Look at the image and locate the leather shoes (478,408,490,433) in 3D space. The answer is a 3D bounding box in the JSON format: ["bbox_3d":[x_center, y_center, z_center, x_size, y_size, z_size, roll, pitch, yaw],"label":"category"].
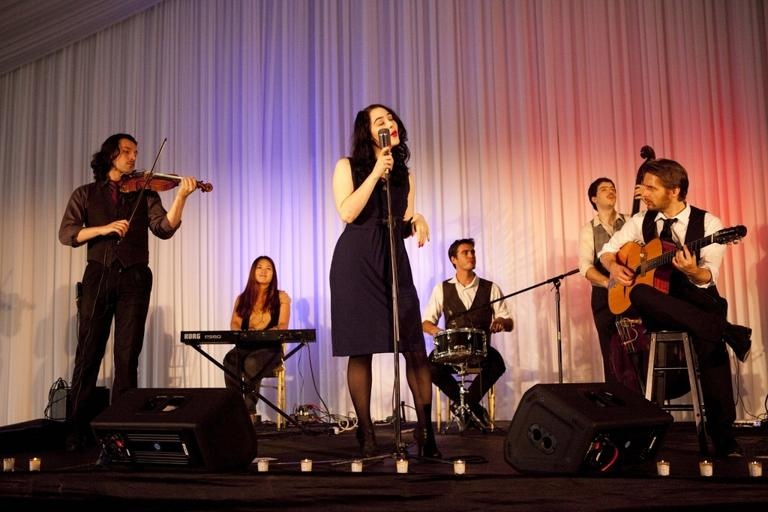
[{"bbox_3d":[0.999,1.617,8.441,0.119,0.265,0.471,-3,-12,5],"label":"leather shoes"}]

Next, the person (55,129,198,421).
[{"bbox_3d":[-2.276,0.126,7.244,1.050,2.489,0.451,-4,-10,16],"label":"person"}]

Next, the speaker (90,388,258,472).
[{"bbox_3d":[-1.584,1.315,6.431,1.142,0.637,0.413,-4,-11,7],"label":"speaker"}]

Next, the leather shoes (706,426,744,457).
[{"bbox_3d":[2.699,1.469,6.707,0.245,0.297,0.162,-5,-5,22],"label":"leather shoes"}]

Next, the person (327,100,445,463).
[{"bbox_3d":[0.007,0.177,6.688,0.660,2.855,0.796,-1,-1,-18],"label":"person"}]

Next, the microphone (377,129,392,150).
[{"bbox_3d":[0.003,-0.912,6.600,0.106,0.181,0.124,-2,-11,0],"label":"microphone"}]

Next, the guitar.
[{"bbox_3d":[2.373,0.043,6.979,0.171,0.679,1.273,33,-40,-24],"label":"guitar"}]

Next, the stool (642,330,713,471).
[{"bbox_3d":[2.446,1.077,7.121,0.539,0.981,0.628,-7,0,-4],"label":"stool"}]

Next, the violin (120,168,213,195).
[{"bbox_3d":[-1.993,-0.649,7.525,0.636,0.136,0.296,6,0,-35],"label":"violin"}]

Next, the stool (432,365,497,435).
[{"bbox_3d":[0.811,1.444,8.683,0.545,0.777,0.556,11,19,30],"label":"stool"}]

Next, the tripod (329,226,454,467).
[{"bbox_3d":[-0.027,0.664,6.674,0.791,1.827,0.342,-2,-10,4],"label":"tripod"}]

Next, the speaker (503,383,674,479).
[{"bbox_3d":[1.464,1.298,6.217,0.907,0.608,0.682,17,-35,-40],"label":"speaker"}]
